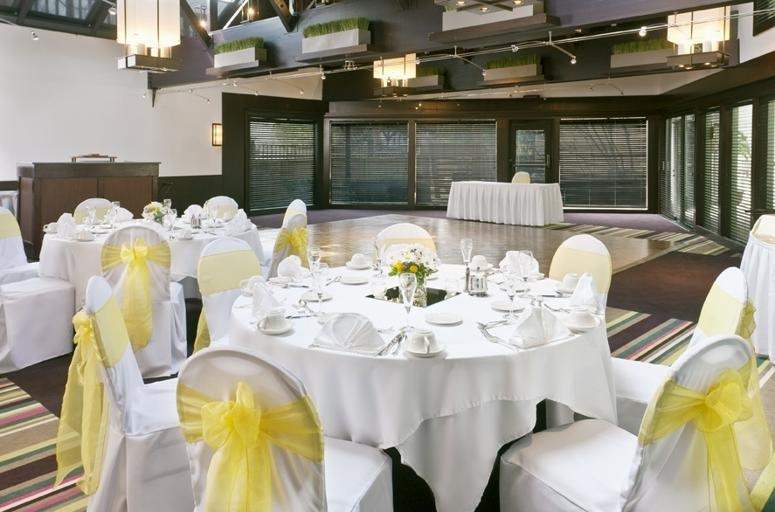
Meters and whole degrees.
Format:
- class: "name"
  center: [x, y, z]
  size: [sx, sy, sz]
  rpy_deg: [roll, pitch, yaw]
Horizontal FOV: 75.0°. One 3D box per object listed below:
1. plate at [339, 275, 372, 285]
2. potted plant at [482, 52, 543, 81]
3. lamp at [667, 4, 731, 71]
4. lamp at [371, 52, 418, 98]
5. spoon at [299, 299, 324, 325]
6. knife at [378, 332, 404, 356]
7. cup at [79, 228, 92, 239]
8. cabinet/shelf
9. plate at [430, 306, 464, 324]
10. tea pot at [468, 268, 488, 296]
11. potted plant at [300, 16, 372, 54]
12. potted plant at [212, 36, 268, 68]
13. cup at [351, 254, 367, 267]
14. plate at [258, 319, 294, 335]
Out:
- class: "plate"
  center: [-0.223, 0.164, 3.507]
  size: [0.205, 0.045, 0.141]
  rpy_deg: [-1, 6, -6]
- class: "potted plant"
  center: [2.731, -4.114, 10.969]
  size: [1.193, 0.618, 0.610]
  rpy_deg: [3, 7, 25]
- class: "lamp"
  center: [4.394, -3.131, 7.135]
  size: [0.713, 0.885, 0.643]
  rpy_deg: [5, 8, 34]
- class: "lamp"
  center: [0.161, -3.734, 10.472]
  size: [0.775, 0.755, 1.184]
  rpy_deg: [0, 6, -4]
- class: "spoon"
  center: [-0.408, 0.307, 2.901]
  size: [0.128, 0.112, 0.262]
  rpy_deg: [-5, 8, -36]
- class: "knife"
  center: [0.028, 0.437, 2.533]
  size: [0.047, 0.044, 0.309]
  rpy_deg: [10, 11, 10]
- class: "cup"
  center: [-2.818, -0.219, 4.759]
  size: [0.110, 0.112, 0.089]
  rpy_deg: [-1, -17, -9]
- class: "cabinet/shelf"
  center: [-3.831, -0.599, 6.339]
  size: [0.570, 1.512, 1.628]
  rpy_deg: [4, 7, 32]
- class: "plate"
  center: [0.332, 0.340, 2.898]
  size: [0.202, 0.046, 0.280]
  rpy_deg: [1, 6, 7]
- class: "tea pot"
  center: [0.585, 0.164, 3.340]
  size: [0.147, 0.215, 0.156]
  rpy_deg: [0, 4, 0]
- class: "potted plant"
  center: [-0.791, -3.511, 8.073]
  size: [1.282, 0.520, 0.277]
  rpy_deg: [4, 8, 36]
- class: "potted plant"
  center: [-2.668, -3.781, 9.431]
  size: [1.226, 0.552, 0.342]
  rpy_deg: [4, 8, 35]
- class: "cup"
  center: [-0.214, 0.031, 3.870]
  size: [0.163, 0.107, 0.130]
  rpy_deg: [-1, 6, -6]
- class: "plate"
  center: [-0.587, 0.370, 2.691]
  size: [0.182, 0.084, 0.083]
  rpy_deg: [-1, 7, -12]
